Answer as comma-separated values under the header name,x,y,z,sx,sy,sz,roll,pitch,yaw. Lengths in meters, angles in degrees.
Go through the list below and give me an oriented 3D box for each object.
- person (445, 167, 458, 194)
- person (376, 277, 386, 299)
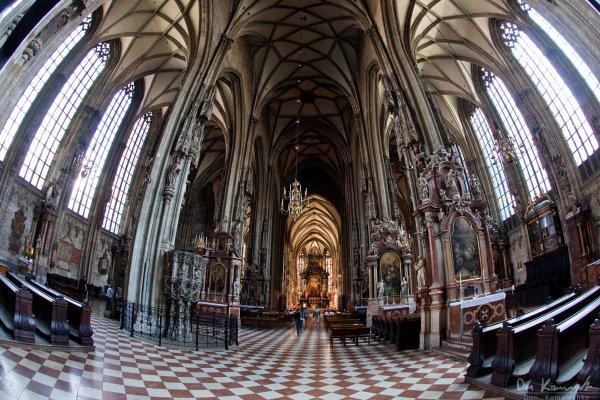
name,x,y,z,sx,sy,sz,roll,pitch,yaw
person,6.575,-0.813,14.732,0.530,1.180,0.580,2,-7,24
person,4.888,5.397,20.678,0.504,1.129,1.117,3,-7,18
